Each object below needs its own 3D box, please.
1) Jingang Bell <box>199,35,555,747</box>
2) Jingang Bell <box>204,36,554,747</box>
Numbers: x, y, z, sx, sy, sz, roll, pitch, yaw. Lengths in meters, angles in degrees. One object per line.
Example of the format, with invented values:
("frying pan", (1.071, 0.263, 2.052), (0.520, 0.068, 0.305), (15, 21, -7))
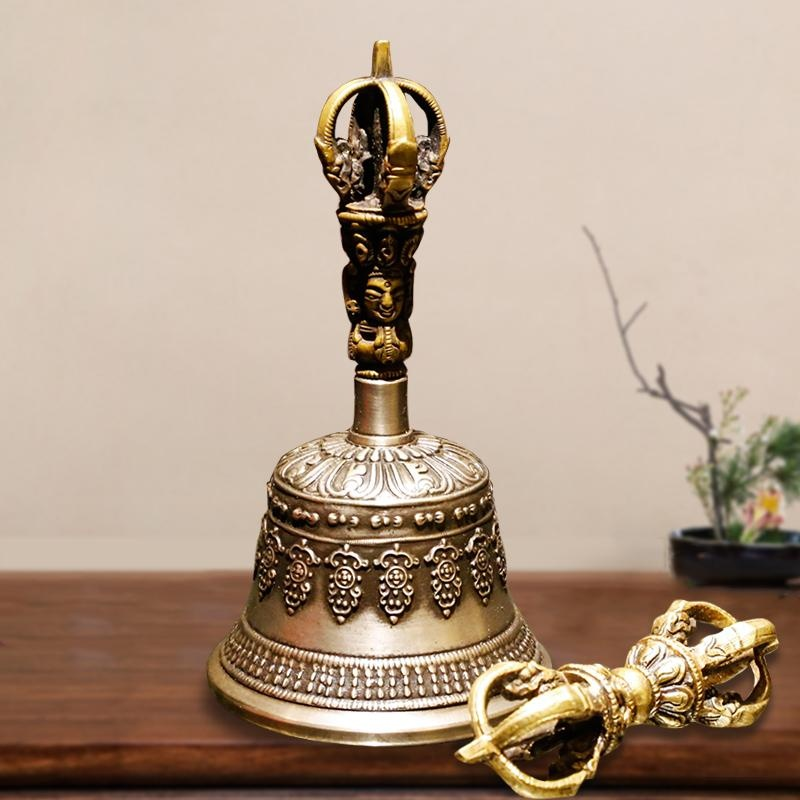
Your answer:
("Jingang Bell", (-0.062, -0.019, 2.388), (0.666, 1.235, 0.409), (-5, 12, -9))
("Jingang Bell", (-0.062, -0.019, 2.388), (0.666, 1.235, 0.409), (-5, 12, -9))
